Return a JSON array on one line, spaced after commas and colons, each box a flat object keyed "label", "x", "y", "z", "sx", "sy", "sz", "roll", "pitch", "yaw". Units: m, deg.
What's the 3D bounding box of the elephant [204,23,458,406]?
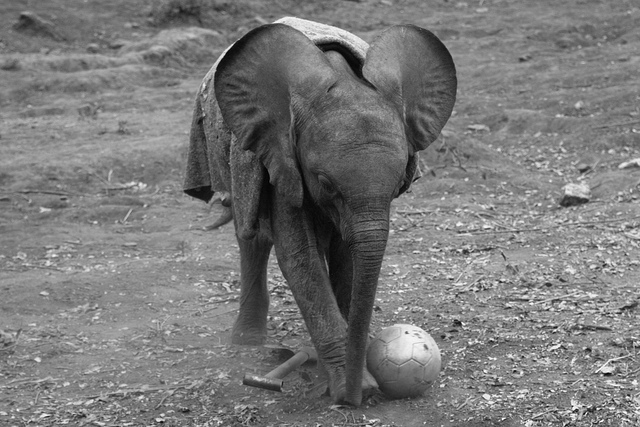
[{"label": "elephant", "x": 0.106, "y": 0.032, "z": 10.833, "sx": 3.085, "sy": 3.756, "sz": 3.094, "roll": 1, "pitch": -3, "yaw": -2}]
